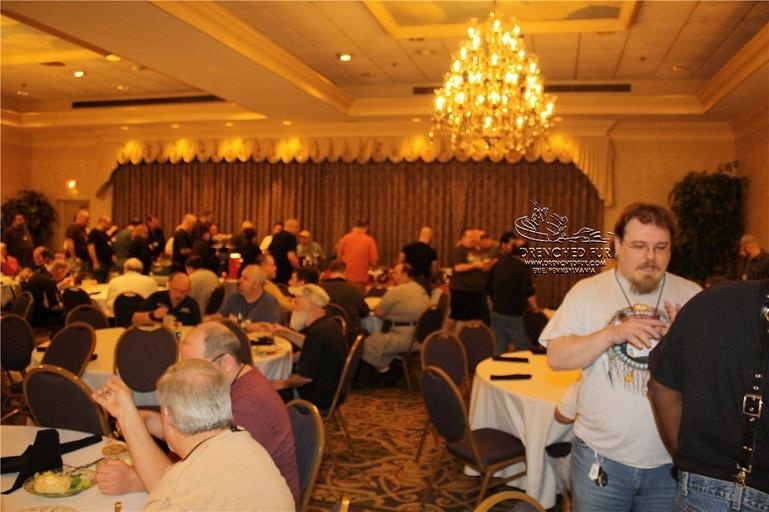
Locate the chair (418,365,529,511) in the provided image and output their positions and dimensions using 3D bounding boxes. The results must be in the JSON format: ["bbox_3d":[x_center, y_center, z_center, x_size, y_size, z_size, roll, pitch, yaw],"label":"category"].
[{"bbox_3d":[0.681,1.274,4.199,0.634,0.962,0.555,-6,10,-34],"label":"chair"}]

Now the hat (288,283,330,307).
[{"bbox_3d":[-0.697,0.315,5.014,0.372,0.129,0.226,20,0,11],"label":"hat"}]

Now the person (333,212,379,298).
[{"bbox_3d":[-0.448,0.282,9.909,0.785,1.861,0.612,6,6,12],"label":"person"}]

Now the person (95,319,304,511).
[{"bbox_3d":[-1.004,0.927,3.480,0.937,1.181,1.175,-5,-15,-8],"label":"person"}]

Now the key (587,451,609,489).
[{"bbox_3d":[1.086,1.080,2.845,0.108,0.147,0.037,5,-3,22],"label":"key"}]

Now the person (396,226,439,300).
[{"bbox_3d":[0.538,0.268,9.554,0.595,1.776,0.541,12,33,5],"label":"person"}]

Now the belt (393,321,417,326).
[{"bbox_3d":[0.261,0.830,7.044,0.276,0.066,0.036,2,9,11],"label":"belt"}]

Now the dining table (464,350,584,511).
[{"bbox_3d":[1.070,1.259,4.490,1.166,0.693,1.121,0,-2,-1],"label":"dining table"}]

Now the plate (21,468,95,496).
[{"bbox_3d":[-1.665,1.136,2.878,0.301,0.105,0.194,3,8,20],"label":"plate"}]

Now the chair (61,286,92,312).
[{"bbox_3d":[-3.946,0.551,7.167,0.283,0.375,0.285,-8,-17,-22],"label":"chair"}]

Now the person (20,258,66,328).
[{"bbox_3d":[-4.822,0.516,8.216,0.752,0.924,0.762,-1,14,-39],"label":"person"}]

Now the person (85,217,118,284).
[{"bbox_3d":[-5.499,0.124,10.842,0.553,1.633,0.659,4,7,-9],"label":"person"}]

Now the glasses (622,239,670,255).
[{"bbox_3d":[1.344,-0.053,2.867,0.229,0.062,0.068,2,8,12],"label":"glasses"}]
